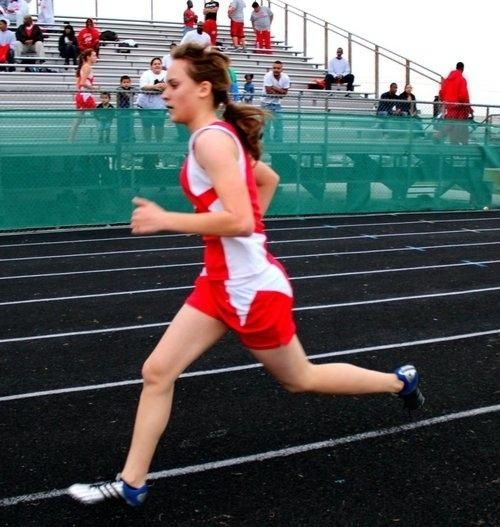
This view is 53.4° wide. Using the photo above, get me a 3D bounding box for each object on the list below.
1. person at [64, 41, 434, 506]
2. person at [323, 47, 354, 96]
[{"bbox_3d":[-0.027,0.102,1.957,1.227,1.813,0.566,-6,12,-29],"label":"person"},{"bbox_3d":[3.246,-6.802,17.721,1.118,1.433,1.085,29,47,34],"label":"person"}]
